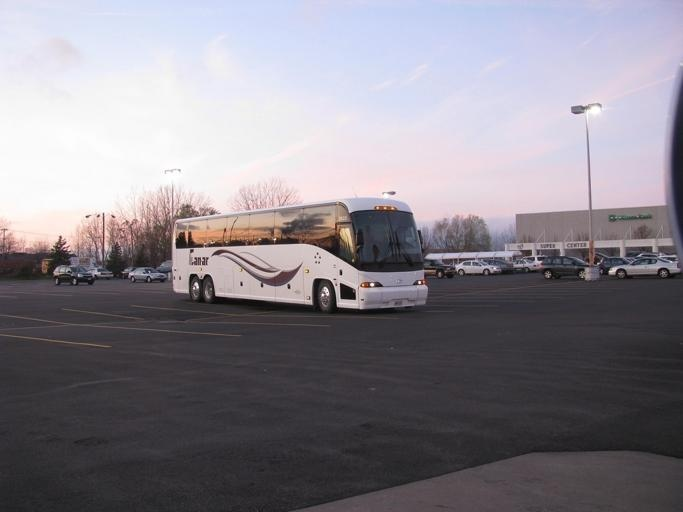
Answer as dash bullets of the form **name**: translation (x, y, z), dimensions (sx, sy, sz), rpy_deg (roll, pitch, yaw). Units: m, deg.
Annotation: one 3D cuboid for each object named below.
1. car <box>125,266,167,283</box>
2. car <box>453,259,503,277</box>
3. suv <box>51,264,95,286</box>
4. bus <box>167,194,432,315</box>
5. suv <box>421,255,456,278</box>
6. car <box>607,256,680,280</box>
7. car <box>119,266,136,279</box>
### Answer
- **car**: translation (-20.443, 2.119, 62.648), dimensions (4.378, 1.424, 2.410), rpy_deg (0, 1, 44)
- **car**: translation (14.918, 1.417, 64.643), dimensions (4.061, 1.420, 1.869), rpy_deg (-7, -4, 43)
- **suv**: translation (-26.431, 2.023, 58.741), dimensions (4.334, 1.777, 2.140), rpy_deg (-8, -7, 43)
- **bus**: translation (-2.819, 0.114, 26.602), dimensions (3.272, 4.262, 13.743), rpy_deg (-4, 1, -45)
- **suv**: translation (9.512, 1.401, 59.338), dimensions (2.339, 2.142, 4.867), rpy_deg (-1, -3, -43)
- **car**: translation (22.880, 1.031, 44.619), dimensions (3.818, 1.360, 1.664), rpy_deg (2, 0, 36)
- **car**: translation (-28.142, 2.336, 77.754), dimensions (2.693, 1.210, 1.233), rpy_deg (-11, -7, 40)
